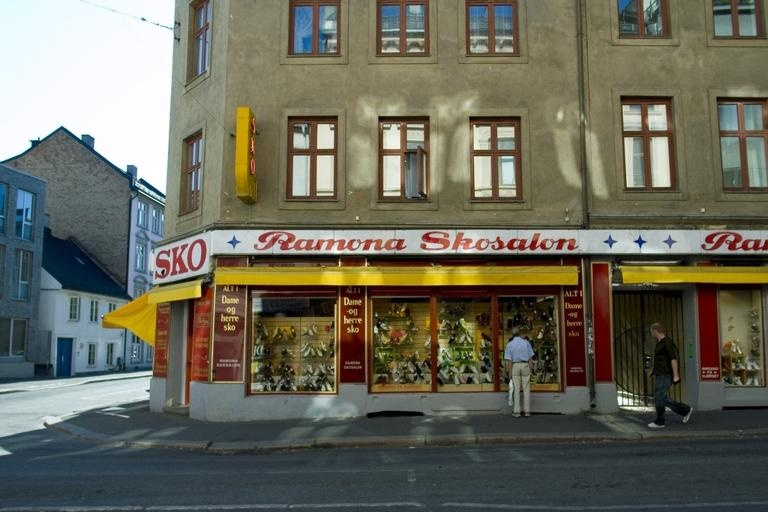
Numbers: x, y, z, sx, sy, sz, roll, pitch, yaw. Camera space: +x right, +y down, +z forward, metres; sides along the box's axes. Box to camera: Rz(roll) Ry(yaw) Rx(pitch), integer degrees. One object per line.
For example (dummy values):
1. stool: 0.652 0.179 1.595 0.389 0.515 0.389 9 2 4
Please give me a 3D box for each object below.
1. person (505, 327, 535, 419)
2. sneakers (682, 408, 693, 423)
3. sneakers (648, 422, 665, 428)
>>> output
1. person: 4.073 3.486 26.023 0.801 2.596 0.977 -2 3 -12
2. sneakers: 8.584 4.471 24.239 0.189 0.462 0.158 15 22 16
3. sneakers: 7.594 4.690 23.821 0.432 0.188 0.175 1 -10 16
